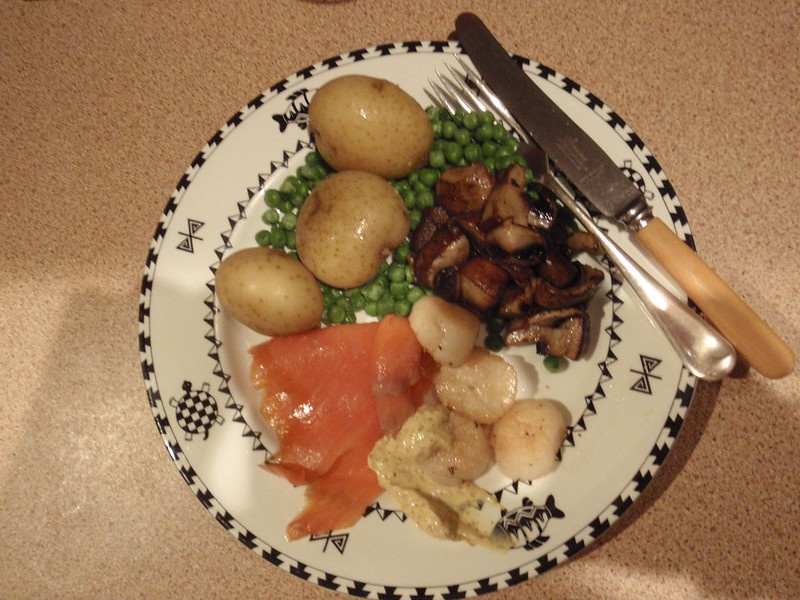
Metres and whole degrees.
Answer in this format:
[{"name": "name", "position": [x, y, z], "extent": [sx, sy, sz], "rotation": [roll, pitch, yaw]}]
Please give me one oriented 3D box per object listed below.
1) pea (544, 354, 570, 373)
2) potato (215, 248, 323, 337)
[{"name": "pea", "position": [0.487, 0.198, 2.832], "extent": [0.043, 0.067, 0.047], "rotation": [-2, 72, 8]}, {"name": "potato", "position": [-0.402, -0.040, 2.856], "extent": [0.291, 0.193, 0.240], "rotation": [32, 91, 0]}]
